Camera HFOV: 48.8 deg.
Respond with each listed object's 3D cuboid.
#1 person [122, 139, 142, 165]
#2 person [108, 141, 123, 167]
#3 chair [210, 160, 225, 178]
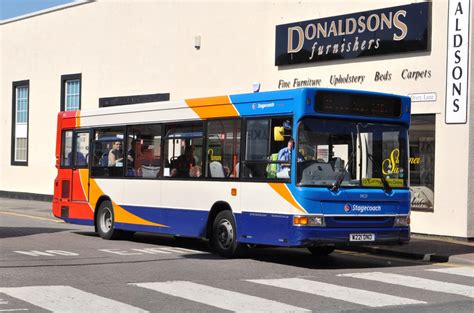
[{"bbox_3d":[-3.203,-0.145,16.089,0.572,1.154,0.590,5,7,-2],"label":"person"},{"bbox_3d":[-3.808,-0.069,16.659,0.493,0.759,0.277,0,-4,42],"label":"person"},{"bbox_3d":[-0.559,0.350,13.877,0.448,0.481,0.265,0,0,24],"label":"chair"}]
